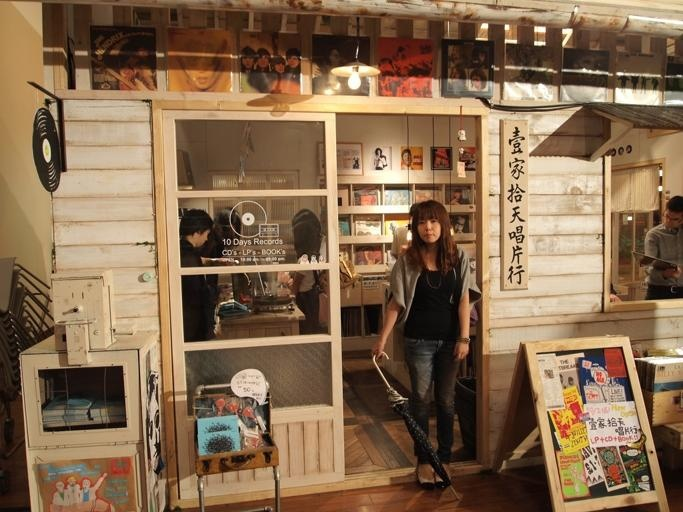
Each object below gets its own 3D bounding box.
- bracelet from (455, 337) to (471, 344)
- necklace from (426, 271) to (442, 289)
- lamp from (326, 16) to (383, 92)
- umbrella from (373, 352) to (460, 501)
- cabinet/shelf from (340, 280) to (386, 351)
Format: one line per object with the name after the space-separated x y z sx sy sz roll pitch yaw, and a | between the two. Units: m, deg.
0.901 0.616 4.779 0.082 0.052 0.130 -8 0 14 | bracelet
0.683 0.174 4.767 0.103 0.127 0.014 -8 0 -7 | necklace
0.096 -1.471 4.697 0.378 0.532 0.226 -8 0 -10 | lamp
0.602 1.362 5.043 0.224 1.098 0.191 -14 -19 -50 | umbrella
0.239 0.710 7.899 0.916 0.919 0.307 0 3 -11 | cabinet/shelf
